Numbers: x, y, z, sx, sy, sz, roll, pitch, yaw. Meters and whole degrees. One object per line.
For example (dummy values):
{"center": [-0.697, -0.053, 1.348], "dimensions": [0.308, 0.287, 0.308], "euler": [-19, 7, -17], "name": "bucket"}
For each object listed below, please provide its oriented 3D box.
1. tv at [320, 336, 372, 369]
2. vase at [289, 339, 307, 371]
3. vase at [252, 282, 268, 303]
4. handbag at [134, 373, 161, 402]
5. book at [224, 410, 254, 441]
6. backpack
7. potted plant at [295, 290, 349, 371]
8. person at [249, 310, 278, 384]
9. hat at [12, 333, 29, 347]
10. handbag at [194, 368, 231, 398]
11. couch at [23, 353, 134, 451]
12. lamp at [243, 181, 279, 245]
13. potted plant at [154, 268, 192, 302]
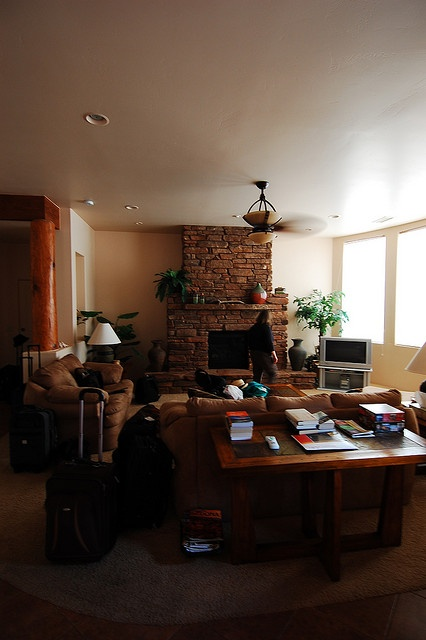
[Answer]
{"center": [1.880, 0.359, 6.589], "dimensions": [0.723, 0.453, 0.393], "euler": [0, -2, 34], "name": "tv"}
{"center": [1.252, 0.525, 7.044], "dimensions": [0.240, 0.446, 0.223], "euler": [9, 15, 37], "name": "vase"}
{"center": [0.648, -0.383, 6.645], "dimensions": [0.250, 0.320, 0.243], "euler": [-1, 1, -17], "name": "vase"}
{"center": [-0.767, 0.874, 5.923], "dimensions": [0.243, 0.307, 0.329], "euler": [-4, -9, 21], "name": "handbag"}
{"center": [0.162, 0.580, 2.599], "dimensions": [0.111, 0.076, 0.170], "euler": [-1, 3, -3], "name": "book"}
{"center": [-0.437, 0.956, 3.156], "dimensions": [0.475, 0.879, 0.603], "euler": [1, -3, -12], "name": "backpack"}
{"center": [1.679, 0.058, 7.366], "dimensions": [0.591, 0.852, 0.617], "euler": [-13, 20, -31], "name": "potted plant"}
{"center": [0.610, 0.366, 5.827], "dimensions": [0.344, 1.052, 0.638], "euler": [-1, 12, -5], "name": "person"}
{"center": [-2.478, 0.260, 6.048], "dimensions": [0.150, 0.044, 0.167], "euler": [-26, 5, 42], "name": "hat"}
{"center": [0.002, 0.461, 3.439], "dimensions": [0.216, 0.192, 0.160], "euler": [-2, 1, -14], "name": "handbag"}
{"center": [-1.148, 0.406, 4.120], "dimensions": [0.684, 0.624, 1.284], "euler": [0, 4, -9], "name": "couch"}
{"center": [0.418, -0.917, 3.970], "dimensions": [0.371, 0.495, 0.342], "euler": [1, -2, -42], "name": "lamp"}
{"center": [-0.547, -0.488, 6.477], "dimensions": [0.502, 0.343, 0.490], "euler": [-4, -1, -20], "name": "potted plant"}
